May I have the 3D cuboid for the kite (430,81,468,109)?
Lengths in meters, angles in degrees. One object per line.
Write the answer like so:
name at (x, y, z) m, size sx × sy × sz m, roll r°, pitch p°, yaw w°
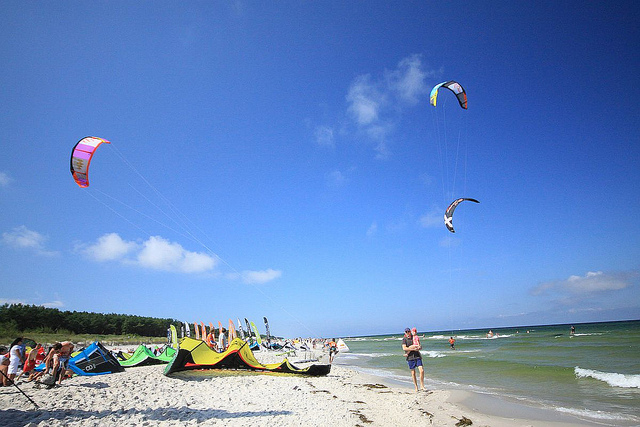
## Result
kite at (6.824, -6.398, 20.391) m, size 2.072 × 1.347 × 0.666 m, roll -10°, pitch -3°, yaw -33°

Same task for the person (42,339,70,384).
person at (-11.141, 6.208, 16.484) m, size 0.821 × 2.200 × 0.611 m, roll 12°, pitch -18°, yaw -15°

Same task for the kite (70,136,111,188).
kite at (-11.149, -2.346, 18.208) m, size 0.912 × 2.485 × 1.457 m, roll 9°, pitch -16°, yaw -36°
